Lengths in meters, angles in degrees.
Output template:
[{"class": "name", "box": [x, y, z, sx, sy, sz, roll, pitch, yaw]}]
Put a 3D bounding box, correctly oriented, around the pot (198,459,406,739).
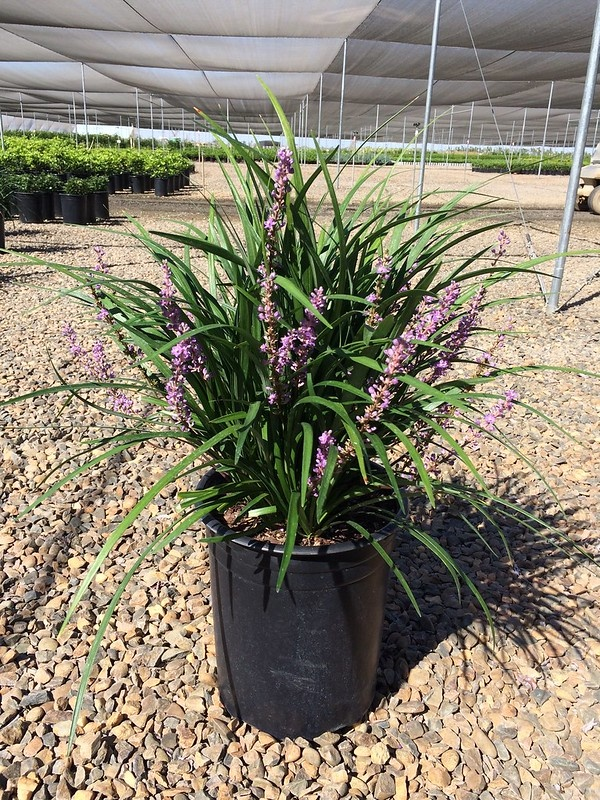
[{"class": "pot", "box": [0.002, 0.486, 1.297, 0.354, 0.357, 0.365, -1, -3, 0]}]
